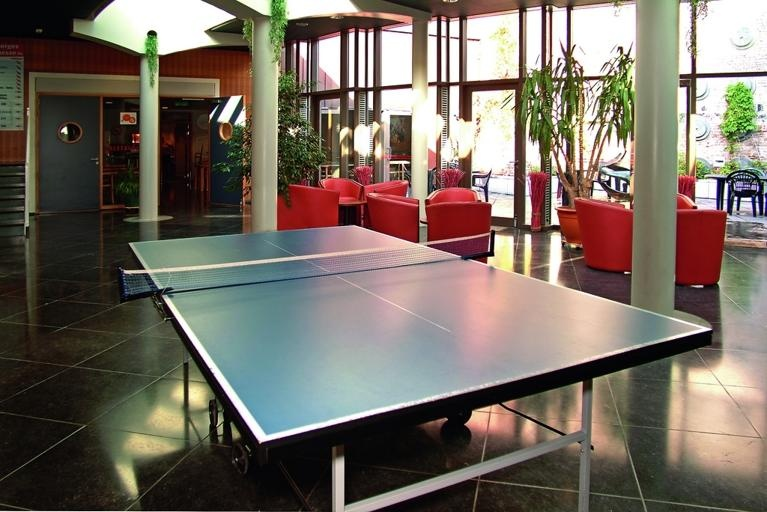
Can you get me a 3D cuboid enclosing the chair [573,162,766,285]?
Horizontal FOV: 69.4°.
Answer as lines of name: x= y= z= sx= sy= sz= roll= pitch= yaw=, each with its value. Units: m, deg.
chair: x=3.329 y=-0.318 z=6.936 sx=1.525 sy=0.972 sz=1.187 roll=0 pitch=6 yaw=23
